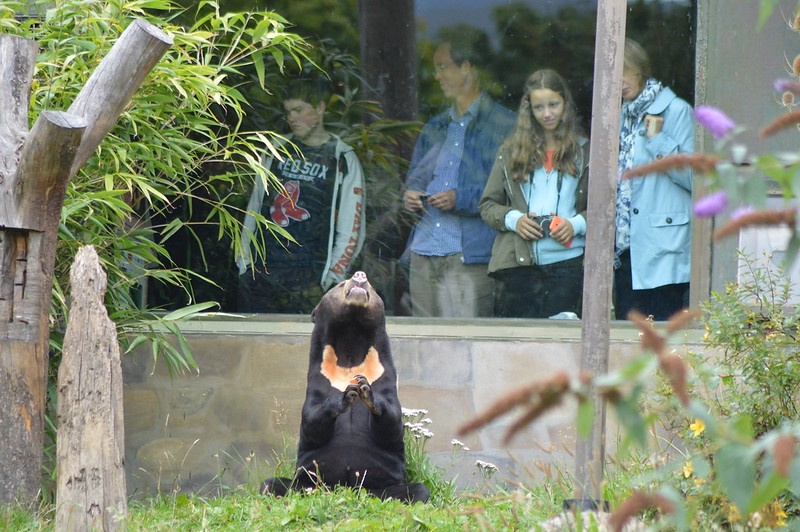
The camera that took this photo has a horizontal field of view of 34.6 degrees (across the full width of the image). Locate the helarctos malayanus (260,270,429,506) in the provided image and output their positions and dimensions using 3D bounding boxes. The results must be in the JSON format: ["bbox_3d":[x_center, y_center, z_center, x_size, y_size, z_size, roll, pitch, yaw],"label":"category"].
[{"bbox_3d":[-0.299,0.725,8.171,0.892,1.491,1.287,1,-2,1],"label":"helarctos malayanus"}]

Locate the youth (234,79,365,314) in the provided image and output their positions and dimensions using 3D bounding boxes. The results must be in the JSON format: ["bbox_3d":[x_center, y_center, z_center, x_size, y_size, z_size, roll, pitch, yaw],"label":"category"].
[{"bbox_3d":[-0.779,-0.312,9.929,0.712,2.196,0.655,1,3,5],"label":"youth"}]

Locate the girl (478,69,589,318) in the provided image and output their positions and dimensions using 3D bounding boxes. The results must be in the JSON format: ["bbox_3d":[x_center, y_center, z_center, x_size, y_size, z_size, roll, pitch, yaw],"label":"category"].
[{"bbox_3d":[1.071,-0.461,9.785,0.664,2.113,0.553,1,11,21],"label":"girl"}]

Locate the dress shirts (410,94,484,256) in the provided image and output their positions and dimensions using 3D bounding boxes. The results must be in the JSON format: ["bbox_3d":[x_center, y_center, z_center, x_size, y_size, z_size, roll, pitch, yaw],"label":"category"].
[{"bbox_3d":[0.359,-0.706,9.890,0.417,1.353,0.374,5,10,38],"label":"dress shirts"}]

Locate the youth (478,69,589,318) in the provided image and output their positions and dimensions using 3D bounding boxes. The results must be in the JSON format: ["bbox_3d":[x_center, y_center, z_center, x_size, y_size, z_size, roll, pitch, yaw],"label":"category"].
[{"bbox_3d":[1.076,-0.145,9.953,0.884,2.614,0.681,5,12,14],"label":"youth"}]
